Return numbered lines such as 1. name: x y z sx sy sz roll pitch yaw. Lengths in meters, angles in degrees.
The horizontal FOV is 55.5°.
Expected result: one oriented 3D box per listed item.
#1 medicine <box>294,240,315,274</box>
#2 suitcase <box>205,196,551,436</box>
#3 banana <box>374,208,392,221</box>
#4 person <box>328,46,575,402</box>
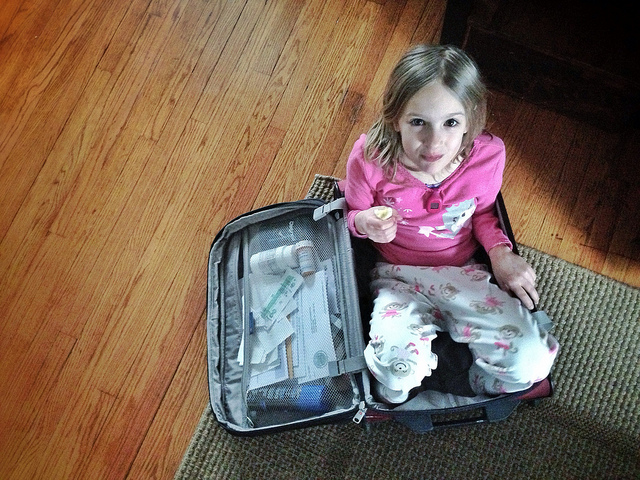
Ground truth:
1. medicine: -0.047 0.056 1.889 0.056 0.059 0.104 -8 87 8
2. suitcase: 0.041 0.227 1.844 0.802 0.395 0.612 1 55 0
3. banana: 0.177 -0.074 1.675 0.029 0.009 0.035 -4 80 0
4. person: 0.321 -0.012 1.668 0.567 0.846 0.681 -17 34 -18
